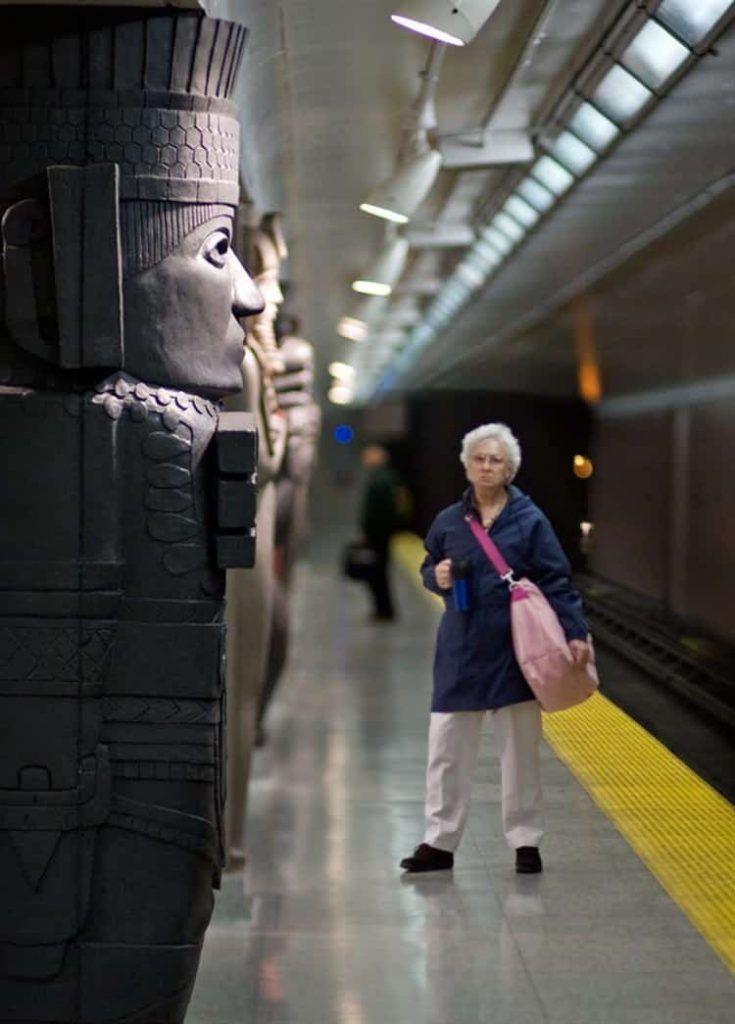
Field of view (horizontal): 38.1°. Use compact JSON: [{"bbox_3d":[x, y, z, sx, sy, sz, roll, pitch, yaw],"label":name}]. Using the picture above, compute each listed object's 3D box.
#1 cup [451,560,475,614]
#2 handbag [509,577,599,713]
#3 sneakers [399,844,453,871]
[{"bbox_3d":[0.243,0.190,2.735,0.063,0.129,0.048,3,0,-27],"label":"cup"},{"bbox_3d":[0.456,0.333,2.764,0.202,0.322,0.124,-29,-1,18],"label":"handbag"},{"bbox_3d":[0.147,0.867,2.712,0.132,0.065,0.059,3,-7,11],"label":"sneakers"}]
